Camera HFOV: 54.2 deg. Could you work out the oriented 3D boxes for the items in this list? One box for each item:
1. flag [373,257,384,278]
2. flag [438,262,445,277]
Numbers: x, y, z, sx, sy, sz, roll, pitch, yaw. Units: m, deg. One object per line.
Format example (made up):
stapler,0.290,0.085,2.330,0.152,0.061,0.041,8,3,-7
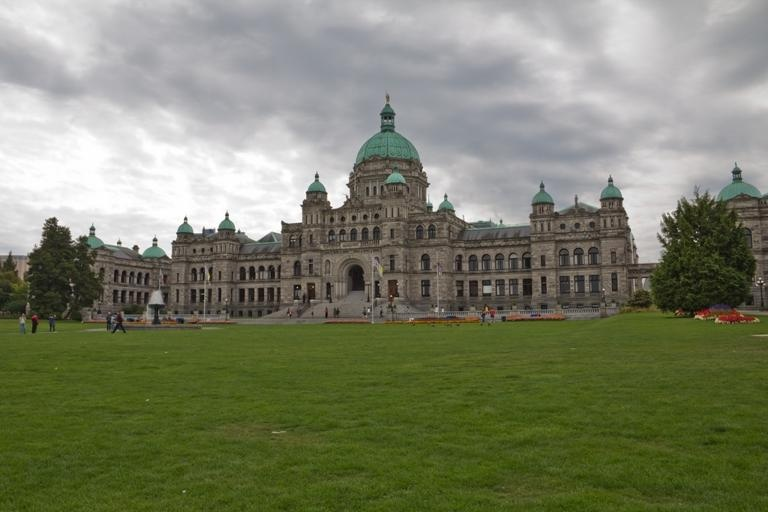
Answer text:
flag,-0.693,1.449,97.459,0.261,2.733,2.847,-11,-14,36
flag,7.801,1.735,101.372,0.581,1.910,1.525,-3,-8,21
